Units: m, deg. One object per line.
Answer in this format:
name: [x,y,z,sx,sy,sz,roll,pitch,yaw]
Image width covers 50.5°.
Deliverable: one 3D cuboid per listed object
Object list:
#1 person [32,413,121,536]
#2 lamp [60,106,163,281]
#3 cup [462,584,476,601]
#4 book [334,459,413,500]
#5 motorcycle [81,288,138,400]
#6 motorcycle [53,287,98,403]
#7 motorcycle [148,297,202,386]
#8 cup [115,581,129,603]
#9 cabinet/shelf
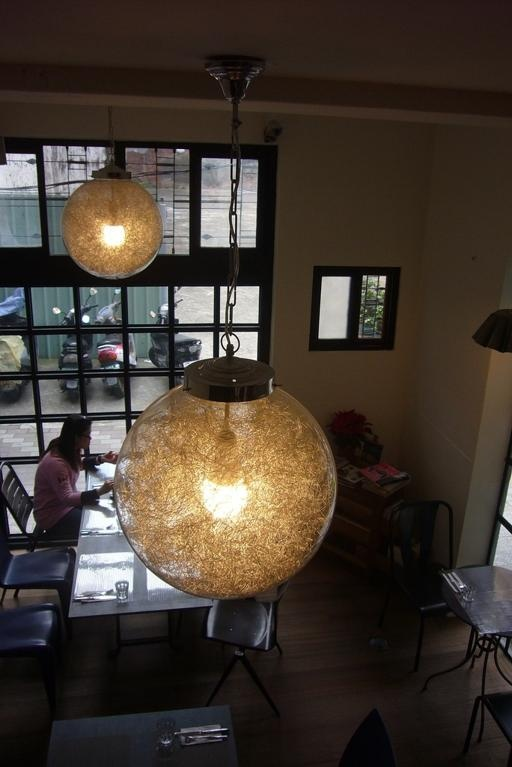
person: [-1.245,0.616,3.673,0.538,1.072,0.521,-5,31,-15]
lamp: [-0.572,-0.814,2.160,0.375,0.869,0.364,-2,-1,-21]
cup: [1.197,1.167,3.036,0.053,0.062,0.055,0,2,0]
book: [0.830,0.686,3.962,0.287,0.073,0.299,13,23,23]
motorcycle: [-1.100,-0.303,4.351,0.329,0.663,0.956,-17,20,-1]
motorcycle: [-1.425,-0.312,4.338,0.363,0.772,1.007,-7,10,-13]
motorcycle: [-0.629,-0.331,4.068,0.294,0.478,0.725,-1,36,-13]
cup: [-0.708,1.106,2.885,0.069,0.089,0.067,-2,-4,0]
cabinet/shelf: [0.866,1.095,4.259,0.404,0.734,0.762,12,0,34]
